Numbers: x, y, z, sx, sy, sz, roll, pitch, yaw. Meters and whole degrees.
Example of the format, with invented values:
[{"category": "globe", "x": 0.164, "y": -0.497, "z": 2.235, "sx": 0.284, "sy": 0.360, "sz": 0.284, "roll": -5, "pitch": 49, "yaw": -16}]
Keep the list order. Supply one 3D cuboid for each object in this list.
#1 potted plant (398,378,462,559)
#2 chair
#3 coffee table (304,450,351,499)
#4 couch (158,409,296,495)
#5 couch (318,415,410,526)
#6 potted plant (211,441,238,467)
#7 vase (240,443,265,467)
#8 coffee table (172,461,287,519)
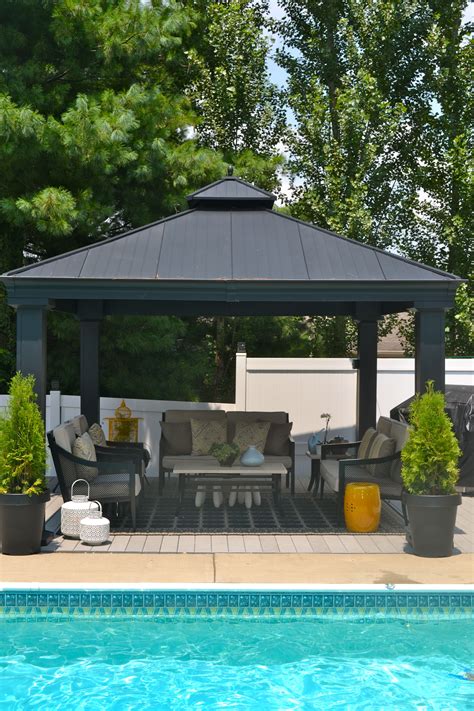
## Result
[{"category": "potted plant", "x": 1.728, "y": 1.078, "z": 6.122, "sx": 0.492, "sy": 1.451, "sz": 0.686, "roll": 1, "pitch": 7, "yaw": 15}, {"category": "chair", "x": -1.427, "y": 1.193, "z": 7.131, "sx": 0.820, "sy": 1.061, "sz": 1.006, "roll": -1, "pitch": 7, "yaw": -1}, {"category": "coffee table", "x": 1.175, "y": 1.540, "z": 8.958, "sx": 0.526, "sy": 0.519, "sz": 0.527, "roll": 1, "pitch": -5, "yaw": 0}, {"category": "couch", "x": -0.143, "y": 1.295, "z": 9.147, "sx": 1.770, "sy": 1.043, "sz": 0.852, "roll": 0, "pitch": -2, "yaw": 0}, {"category": "couch", "x": 1.426, "y": 1.254, "z": 8.034, "sx": 0.753, "sy": 0.985, "sz": 1.644, "roll": 3, "pitch": -2, "yaw": 0}, {"category": "potted plant", "x": -0.136, "y": 1.145, "z": 7.891, "sx": 0.263, "sy": 0.261, "sz": 0.392, "roll": -4, "pitch": 8, "yaw": -21}, {"category": "vase", "x": 0.173, "y": 1.169, "z": 7.812, "sx": 0.240, "sy": 0.177, "sz": 0.325, "roll": -6, "pitch": 8, "yaw": -31}, {"category": "coffee table", "x": -0.082, "y": 1.496, "z": 8.064, "sx": 1.244, "sy": 0.735, "sz": 1.239, "roll": -2, "pitch": 7, "yaw": -4}]
